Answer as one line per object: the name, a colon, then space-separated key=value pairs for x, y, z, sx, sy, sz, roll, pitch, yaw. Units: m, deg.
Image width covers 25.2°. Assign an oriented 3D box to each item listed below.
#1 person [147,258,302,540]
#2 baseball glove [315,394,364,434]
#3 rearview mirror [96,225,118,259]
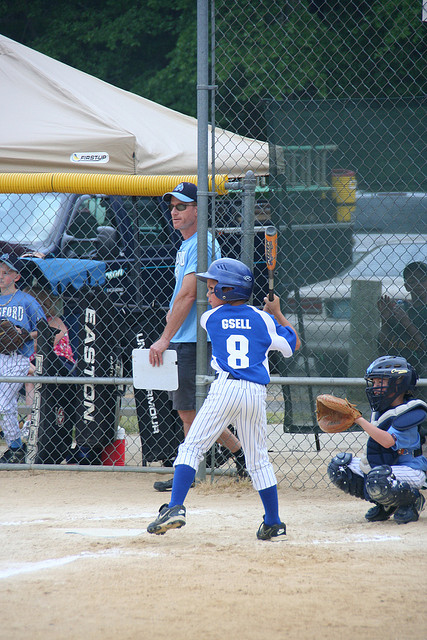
person: x=0.058 y=0.320 z=3.990 sx=0.463 sy=1.136 sz=0.658 roll=0 pitch=7 yaw=23
baseball glove: x=0.561 y=0.432 z=4.374 sx=0.212 sy=0.156 sz=0.099 roll=15 pitch=-7 yaw=46
rearview mirror: x=-0.891 y=-0.639 z=7.938 sx=0.182 sy=0.280 sz=0.604 roll=-4 pitch=6 yaw=-6
